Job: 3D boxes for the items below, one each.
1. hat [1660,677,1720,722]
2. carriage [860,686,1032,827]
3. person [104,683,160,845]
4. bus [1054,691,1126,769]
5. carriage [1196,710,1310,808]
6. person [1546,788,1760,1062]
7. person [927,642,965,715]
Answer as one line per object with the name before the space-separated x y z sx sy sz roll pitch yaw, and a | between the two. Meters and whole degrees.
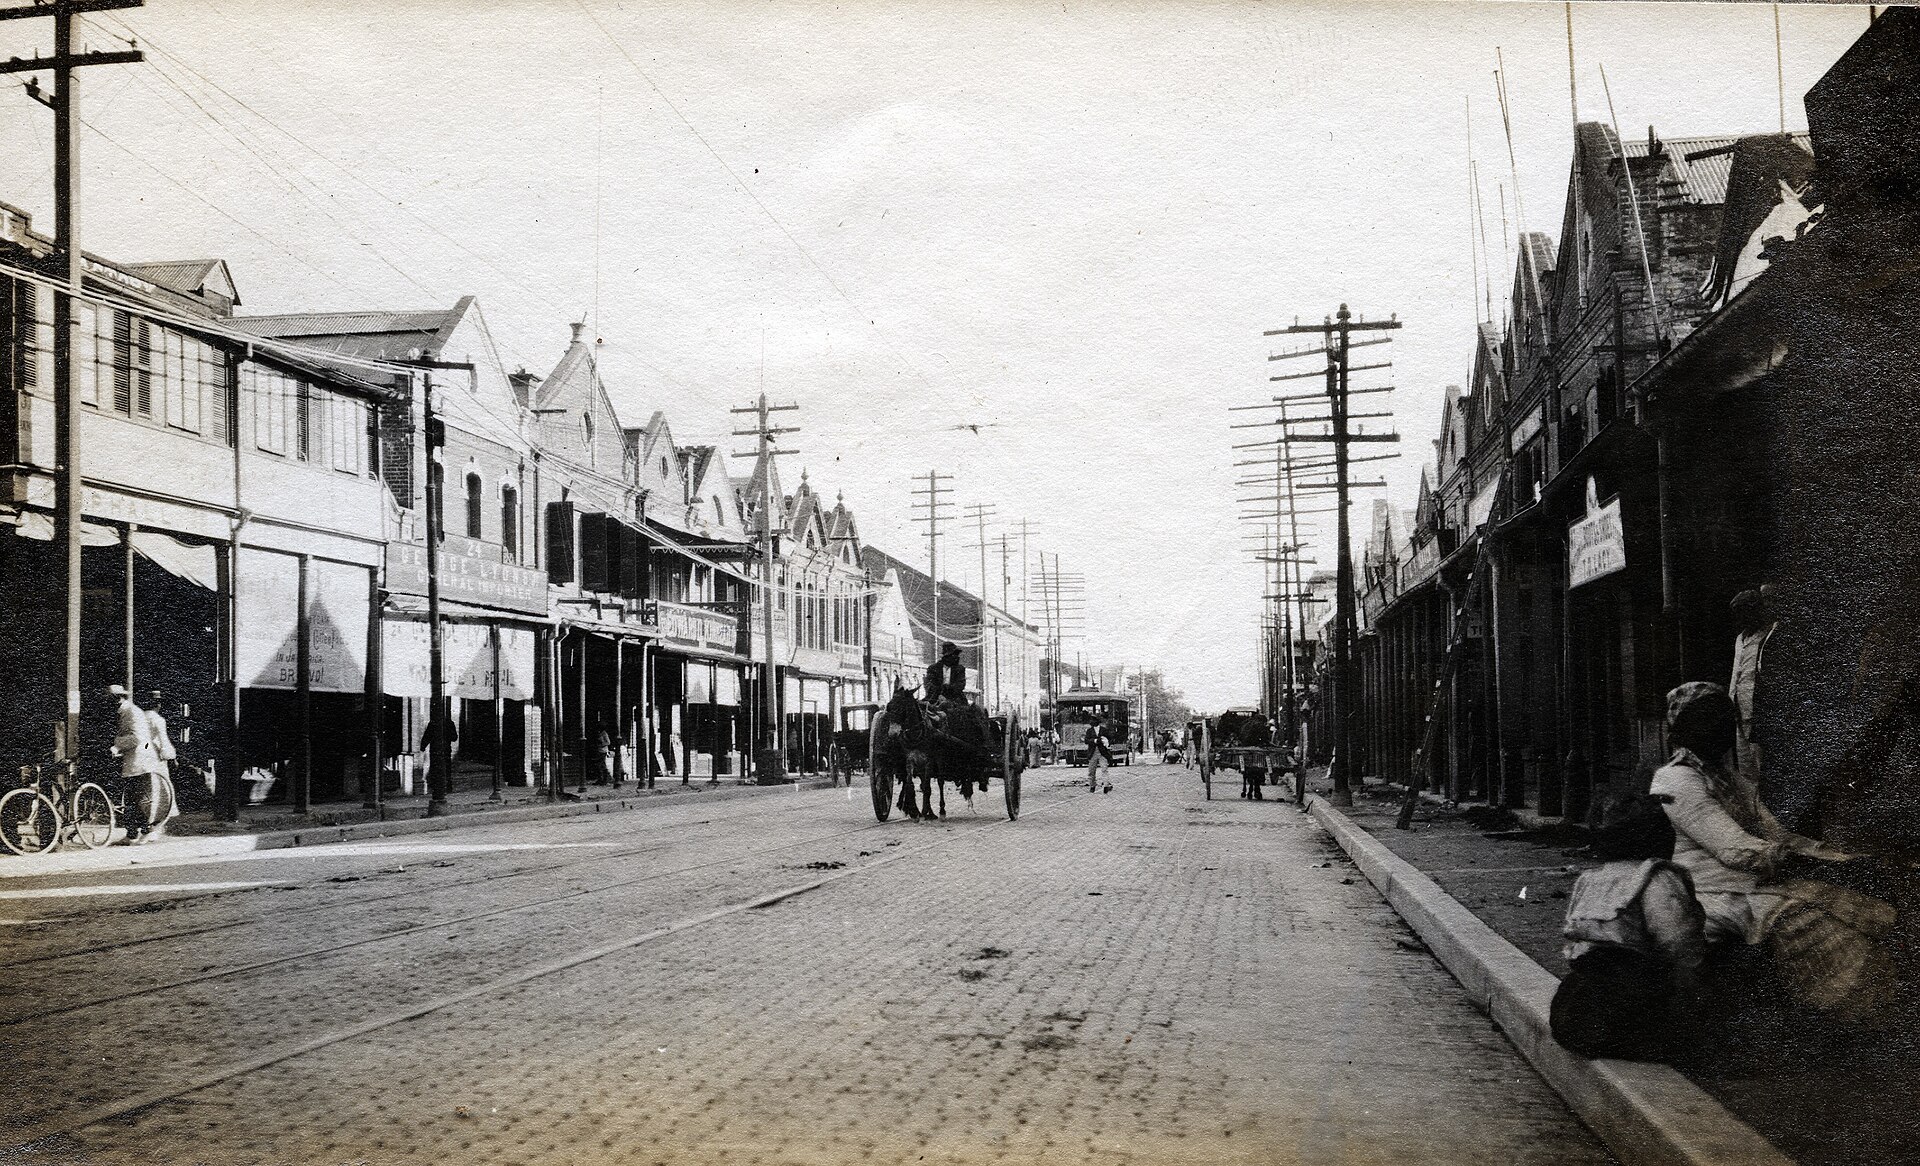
hat | 5.982 0.944 16.741 0.599 0.181 0.424 -19 1 -38
carriage | -0.263 2.810 32.189 1.969 1.675 3.475 -2 -12 25
person | -11.048 2.393 27.529 0.590 2.115 0.860 2 -10 -22
bus | 6.315 6.080 88.063 3.482 3.545 6.165 -1 2 13
carriage | 6.502 3.751 48.342 1.871 1.348 2.835 1 8 3
person | 5.221 2.608 15.261 1.182 2.314 1.352 19 42 42
person | -0.180 1.446 31.339 0.601 1.055 1.785 -2 -10 -1
